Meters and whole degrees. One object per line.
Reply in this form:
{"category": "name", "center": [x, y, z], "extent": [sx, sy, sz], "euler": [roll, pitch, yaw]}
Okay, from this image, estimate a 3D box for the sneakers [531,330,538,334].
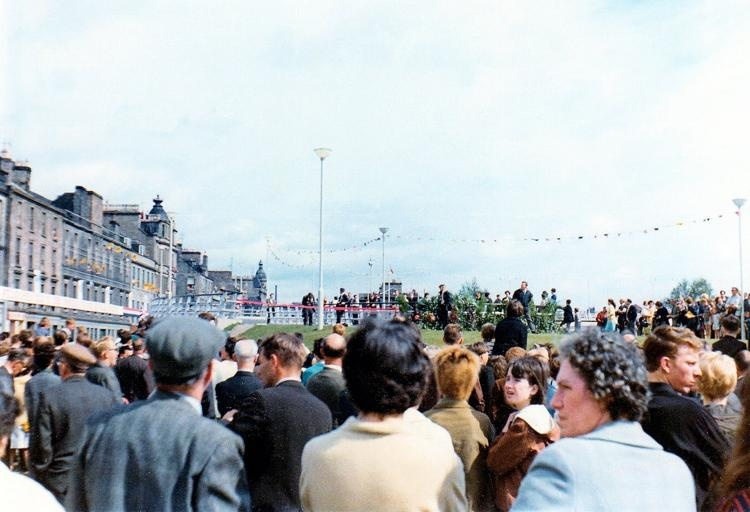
{"category": "sneakers", "center": [5.184, 2.473, 33.337], "extent": [0.179, 0.139, 0.142], "euler": [7, -25, 46]}
